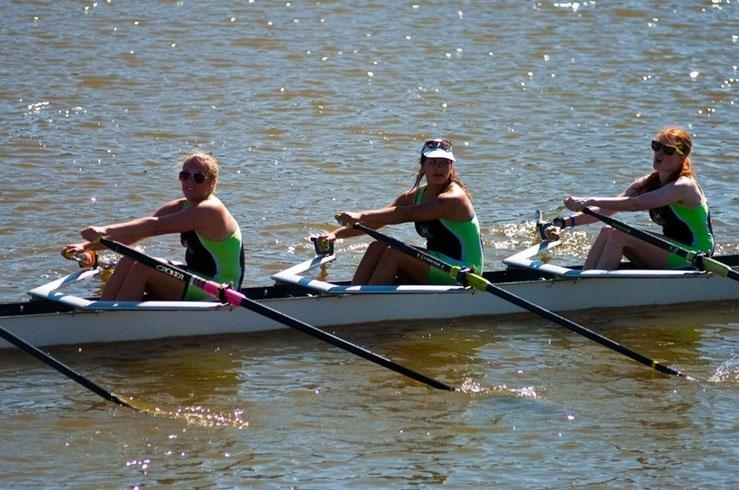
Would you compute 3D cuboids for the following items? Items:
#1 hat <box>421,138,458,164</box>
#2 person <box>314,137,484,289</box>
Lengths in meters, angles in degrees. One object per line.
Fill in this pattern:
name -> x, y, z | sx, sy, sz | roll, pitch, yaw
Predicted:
hat -> 0.920, -1.263, 15.469 | 0.402, 0.287, 0.348 | 1, 26, 0
person -> 0.615, -0.376, 15.530 | 1.818, 2.013, 0.916 | 0, 31, -2
